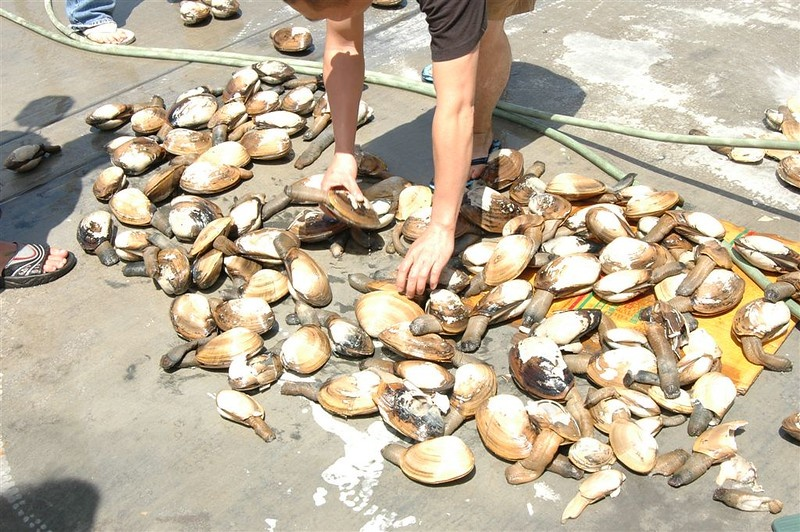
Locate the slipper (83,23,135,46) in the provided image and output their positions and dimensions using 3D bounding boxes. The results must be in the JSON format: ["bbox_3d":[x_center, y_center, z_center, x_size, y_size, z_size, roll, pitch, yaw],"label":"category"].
[{"bbox_3d":[-2.428,-1.908,5.027,0.395,0.127,0.198,11,51,6],"label":"slipper"}]
